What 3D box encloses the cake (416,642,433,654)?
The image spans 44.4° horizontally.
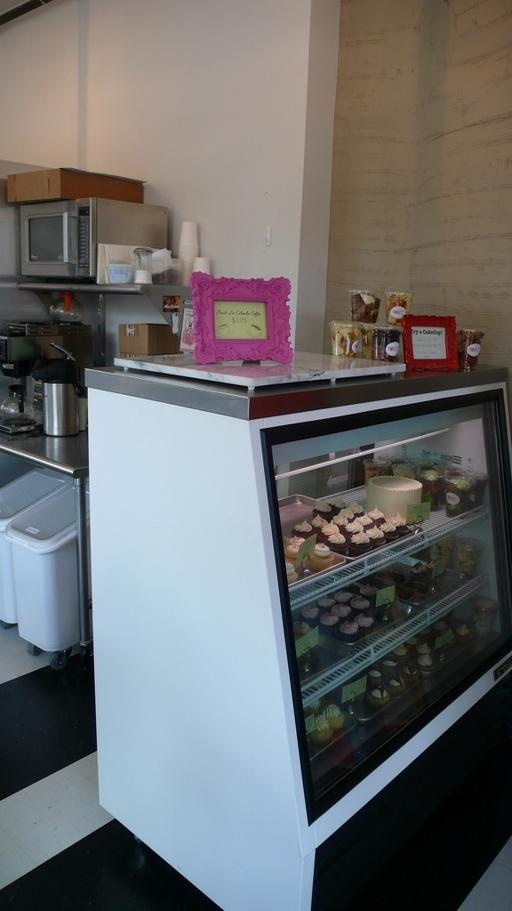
[{"bbox_3d":[0.446,0.510,1.672,0.031,0.018,0.046,2,0,1],"label":"cake"}]

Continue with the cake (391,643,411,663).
[{"bbox_3d":[0.374,0.504,1.628,0.043,0.051,0.047,1,14,3],"label":"cake"}]

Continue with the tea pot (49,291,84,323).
[{"bbox_3d":[-0.946,-0.741,3.119,0.205,0.154,0.108,9,11,42],"label":"tea pot"}]

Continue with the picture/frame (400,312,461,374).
[{"bbox_3d":[0.444,-0.291,1.622,0.135,0.162,0.014,1,-21,8],"label":"picture/frame"}]

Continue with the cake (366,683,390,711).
[{"bbox_3d":[0.284,0.557,1.463,0.030,0.061,0.041,3,-3,35],"label":"cake"}]

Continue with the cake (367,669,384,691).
[{"bbox_3d":[0.283,0.525,1.498,0.034,0.036,0.036,4,10,24],"label":"cake"}]

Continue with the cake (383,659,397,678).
[{"bbox_3d":[0.331,0.518,1.545,0.029,0.021,0.031,6,13,28],"label":"cake"}]

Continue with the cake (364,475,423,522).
[{"bbox_3d":[0.354,0.089,1.594,0.109,0.076,0.112,7,10,39],"label":"cake"}]

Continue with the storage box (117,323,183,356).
[{"bbox_3d":[-0.455,-0.508,2.720,0.259,0.139,0.361,-1,9,-16],"label":"storage box"}]

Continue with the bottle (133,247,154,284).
[{"bbox_3d":[-0.453,-0.773,2.547,0.068,0.157,0.151,-1,9,-17],"label":"bottle"}]

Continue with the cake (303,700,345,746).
[{"bbox_3d":[0.138,0.539,1.295,0.059,0.044,0.088,0,0,8],"label":"cake"}]

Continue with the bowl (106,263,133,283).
[{"bbox_3d":[-0.555,-0.743,2.554,0.075,0.059,0.082,3,21,-1],"label":"bowl"}]
